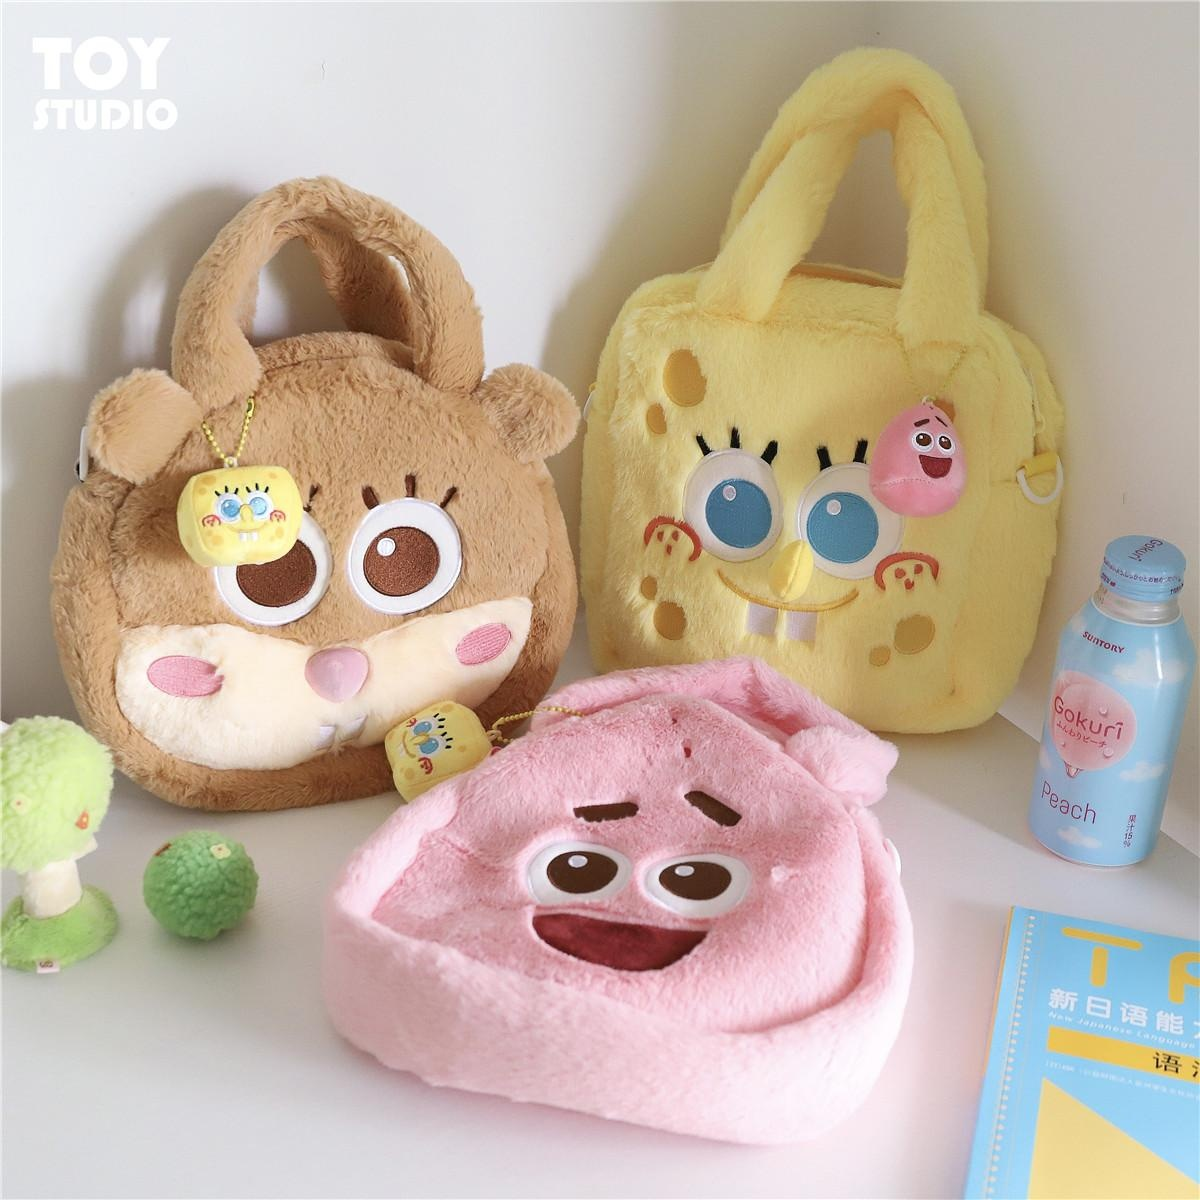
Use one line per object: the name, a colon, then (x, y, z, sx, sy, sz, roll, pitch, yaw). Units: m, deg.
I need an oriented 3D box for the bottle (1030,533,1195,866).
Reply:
bottle: (0.352, 0.081, 0.921, 0.086, 0.237, 0.057, 16, 27, 26)
